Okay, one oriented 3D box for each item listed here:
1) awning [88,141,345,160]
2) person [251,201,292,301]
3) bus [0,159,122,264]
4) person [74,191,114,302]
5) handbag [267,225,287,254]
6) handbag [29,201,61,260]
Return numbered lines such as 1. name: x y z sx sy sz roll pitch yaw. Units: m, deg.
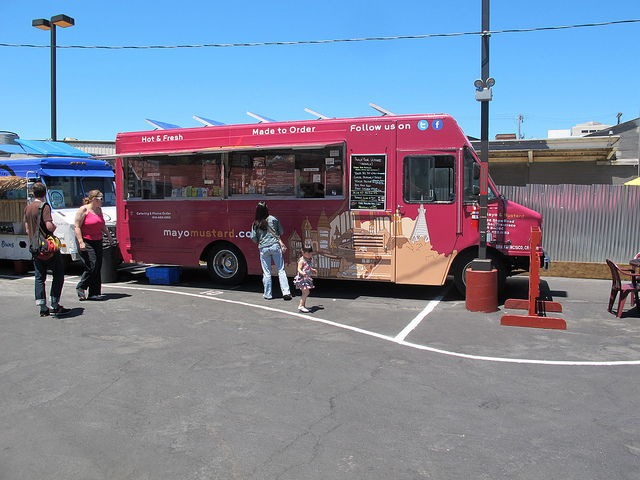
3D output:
1. awning: -2.229 -2.017 12.442 5.652 0.413 0.534 3 8 16
2. person: -0.993 0.229 11.518 0.829 2.012 0.597 0 7 -3
3. bus: -6.847 -1.280 15.154 4.110 2.977 2.761 3 4 38
4. person: -4.557 0.122 11.129 0.642 2.208 0.819 -3 8 -24
5. handbag: -0.865 -0.040 11.366 0.379 0.561 0.151 -1 7 -14
6. handbag: -4.849 -0.216 9.910 0.438 1.146 0.550 -15 -13 42
